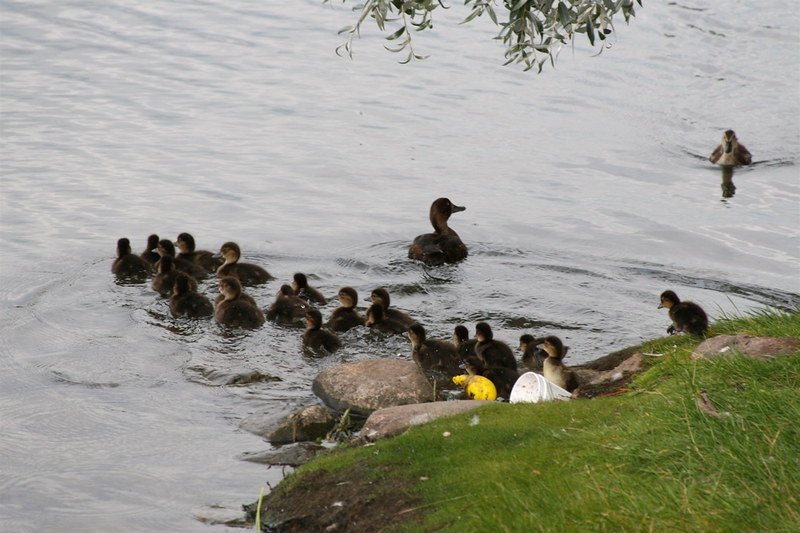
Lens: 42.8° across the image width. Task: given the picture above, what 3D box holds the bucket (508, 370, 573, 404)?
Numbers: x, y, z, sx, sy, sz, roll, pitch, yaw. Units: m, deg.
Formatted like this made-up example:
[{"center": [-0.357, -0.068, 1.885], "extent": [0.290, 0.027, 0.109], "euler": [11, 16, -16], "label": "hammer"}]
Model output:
[{"center": [2.315, 2.068, 17.066], "extent": [0.688, 0.546, 0.668], "euler": [6, 25, -3], "label": "bucket"}]
